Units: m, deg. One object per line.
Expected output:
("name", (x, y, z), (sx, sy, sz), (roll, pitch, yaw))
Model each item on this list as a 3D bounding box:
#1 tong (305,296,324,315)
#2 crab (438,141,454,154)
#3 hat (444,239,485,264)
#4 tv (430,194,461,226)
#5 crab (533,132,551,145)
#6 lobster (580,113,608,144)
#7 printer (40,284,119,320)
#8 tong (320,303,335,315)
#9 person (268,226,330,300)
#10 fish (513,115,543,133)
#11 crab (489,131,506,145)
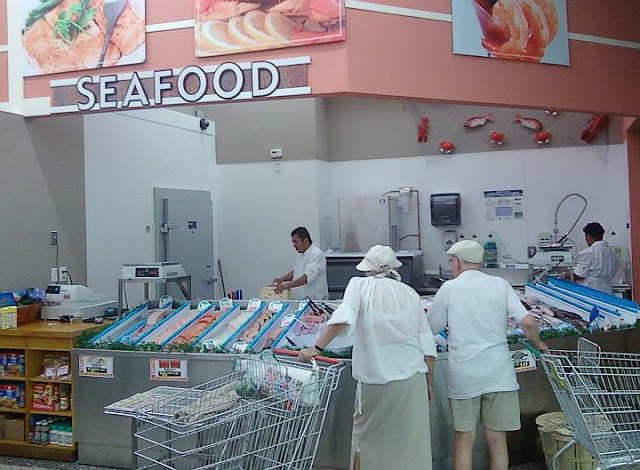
("tong", (-0.053, 0.673, 4.965), (0.086, 0.076, 0.275), (-23, 53, -31))
("crab", (2.181, -1.487, 8.989), (0.218, 0.162, 0.222), (1, -2, 18))
("hat", (1.094, 0.117, 3.994), (0.175, 0.118, 0.237), (-5, 20, -44))
("tv", (2.107, -0.416, 8.755), (0.480, 0.554, 0.304), (-2, -7, 21))
("crab", (3.632, -1.576, 8.526), (0.227, 0.161, 0.230), (0, -1, 12))
("lobster", (4.332, -1.688, 8.372), (0.373, 0.161, 0.699), (-8, 38, 54))
("printer", (-2.479, 0.672, 5.439), (0.573, 0.354, 0.478), (3, 3, 14))
("tong", (0.059, 0.708, 4.992), (0.070, 0.037, 0.136), (35, -2, -17))
("person", (-0.232, 0.411, 6.449), (0.580, 1.023, 0.538), (6, 5, 30))
("fish", (3.451, -1.839, 8.657), (0.453, 0.194, 0.224), (20, 55, 27))
("crab", (2.961, -1.596, 8.743), (0.264, 0.218, 0.200), (7, 53, 26))
